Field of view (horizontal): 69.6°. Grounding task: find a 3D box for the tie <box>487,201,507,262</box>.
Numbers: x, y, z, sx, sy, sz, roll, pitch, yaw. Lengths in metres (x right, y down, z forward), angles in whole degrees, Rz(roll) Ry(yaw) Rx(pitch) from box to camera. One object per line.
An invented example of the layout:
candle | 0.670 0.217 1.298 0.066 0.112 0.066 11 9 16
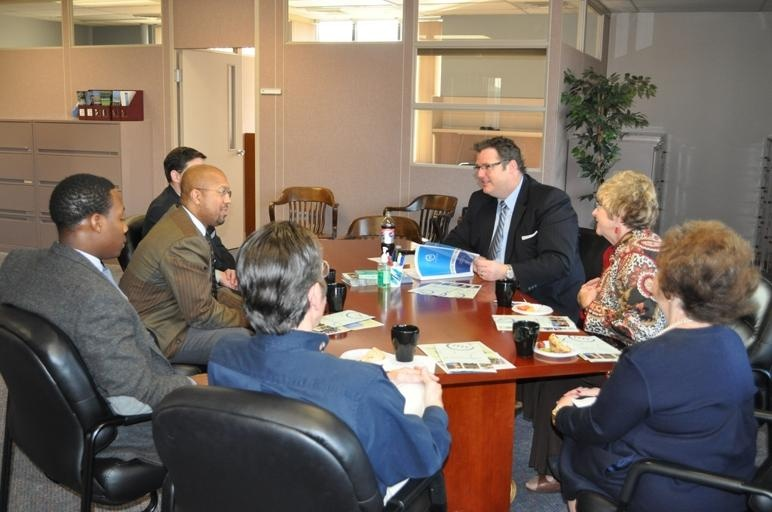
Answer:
tie | 0.749 -0.157 3.703 0.085 0.476 0.070 10 -6 -17

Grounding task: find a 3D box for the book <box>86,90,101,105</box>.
book | -3.626 -1.980 6.959 0.202 0.200 0.148 4 18 -3

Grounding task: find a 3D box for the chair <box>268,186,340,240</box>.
chair | -0.914 -0.573 6.654 0.799 1.071 0.762 0 4 3

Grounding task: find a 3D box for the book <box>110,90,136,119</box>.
book | -3.305 -1.900 6.996 0.306 0.373 0.155 -4 11 -24

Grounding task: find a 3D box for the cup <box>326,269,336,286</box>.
cup | -0.284 0.107 2.909 0.067 0.078 0.070 0 -2 0

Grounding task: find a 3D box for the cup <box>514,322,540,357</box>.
cup | 0.559 0.328 2.251 0.128 0.147 0.130 -1 2 0

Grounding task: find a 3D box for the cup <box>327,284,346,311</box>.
cup | -0.245 0.200 2.699 0.117 0.132 0.114 0 1 0
